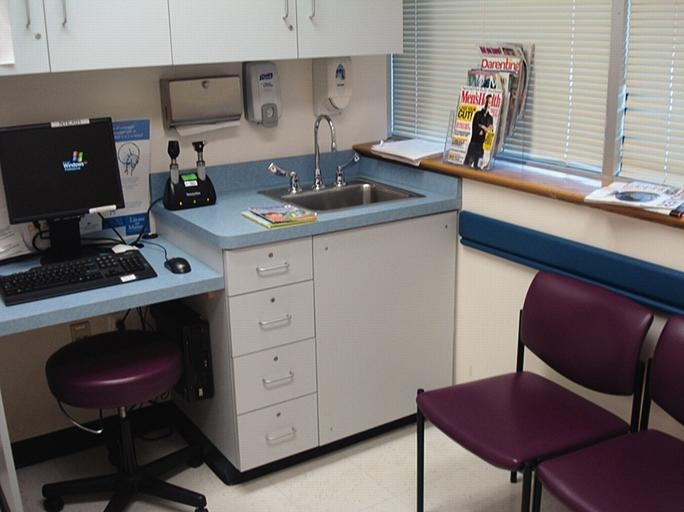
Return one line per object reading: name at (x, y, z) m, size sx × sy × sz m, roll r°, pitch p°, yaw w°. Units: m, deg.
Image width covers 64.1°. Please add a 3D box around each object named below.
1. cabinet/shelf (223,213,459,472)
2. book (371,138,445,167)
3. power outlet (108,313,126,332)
cabinet/shelf at (-0.041, 0.368, 2.387) m, size 0.877 × 0.888 × 0.465 m, roll -12°, pitch 22°, yaw -28°
book at (0.363, -0.538, 2.823) m, size 0.332 × 0.069 × 0.373 m, roll -20°, pitch 31°, yaw -37°
power outlet at (-1.076, 0.311, 2.602) m, size 0.087 × 0.024 × 0.094 m, roll 27°, pitch 36°, yaw 31°
